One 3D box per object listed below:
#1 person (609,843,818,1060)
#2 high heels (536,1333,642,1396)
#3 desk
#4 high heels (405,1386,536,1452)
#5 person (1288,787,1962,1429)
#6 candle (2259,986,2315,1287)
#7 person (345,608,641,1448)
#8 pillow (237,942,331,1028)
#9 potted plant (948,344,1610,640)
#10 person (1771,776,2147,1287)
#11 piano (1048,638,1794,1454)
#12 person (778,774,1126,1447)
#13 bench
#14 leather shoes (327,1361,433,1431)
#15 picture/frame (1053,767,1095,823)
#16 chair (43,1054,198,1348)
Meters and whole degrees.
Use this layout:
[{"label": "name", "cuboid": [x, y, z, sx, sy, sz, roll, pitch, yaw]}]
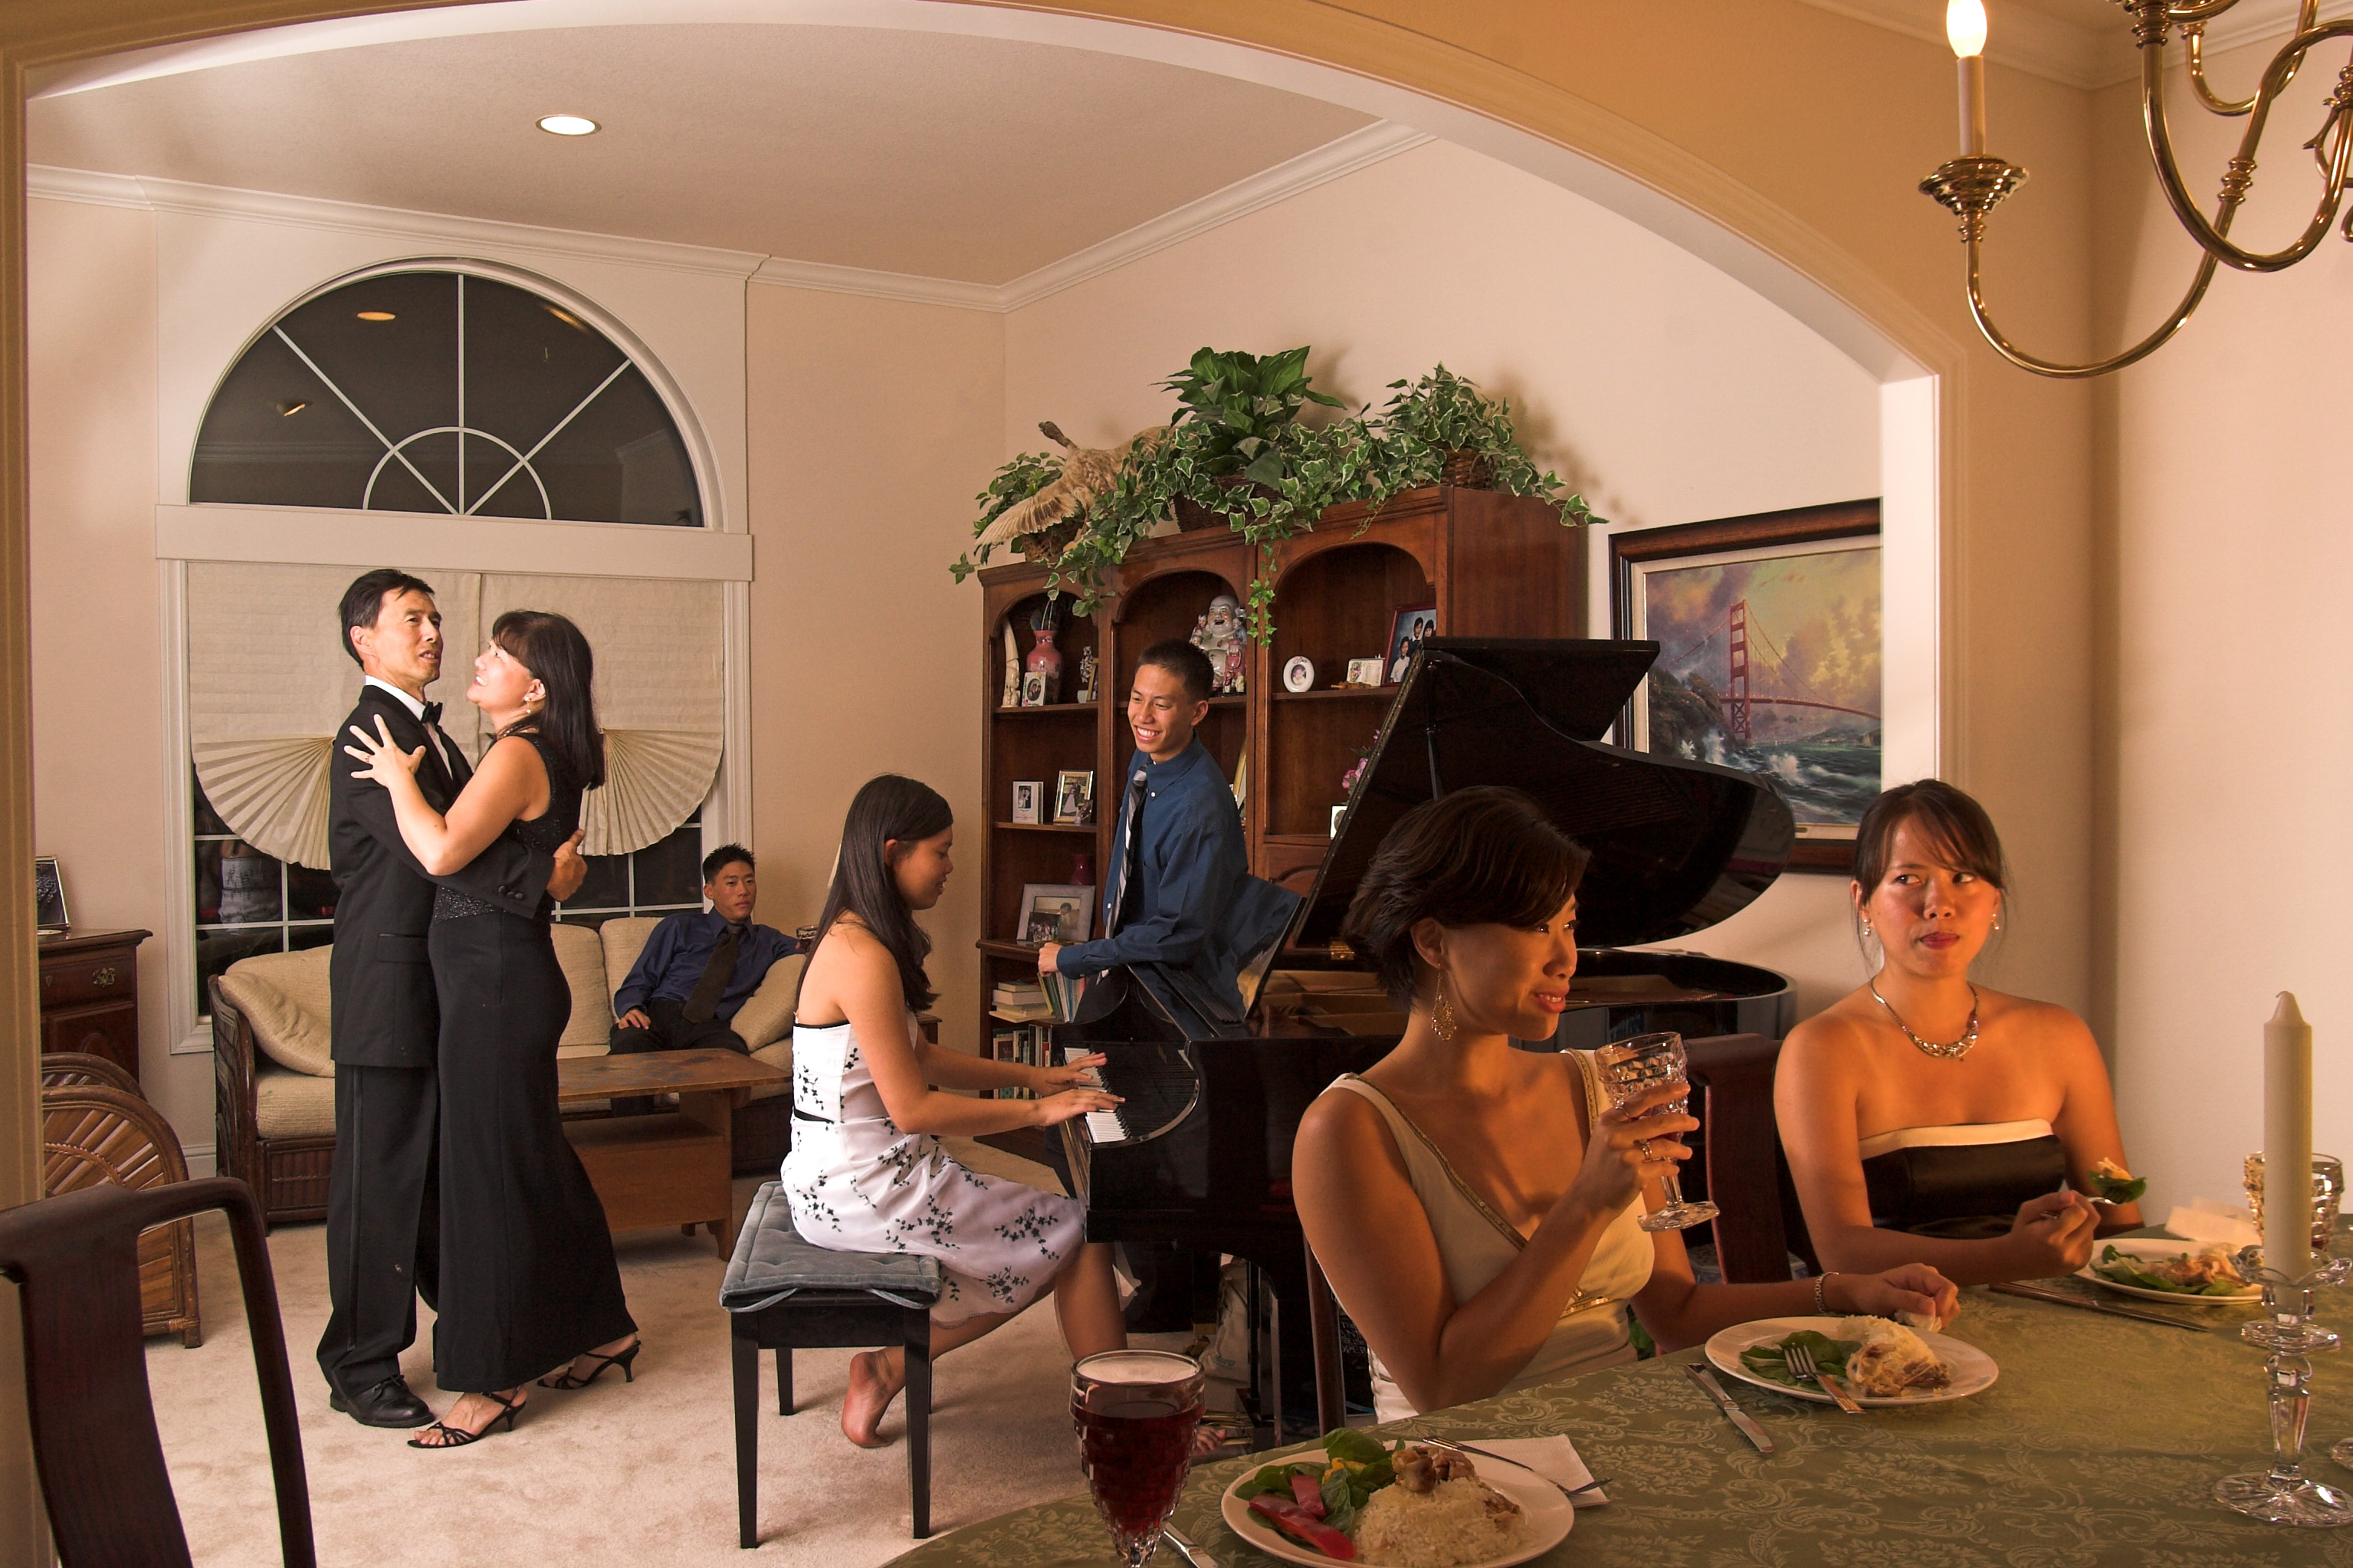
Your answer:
[{"label": "person", "cuboid": [-1.971, 0.766, 7.376, 0.931, 0.970, 0.542, 3, 3, -28]}, {"label": "high heels", "cuboid": [-1.749, 1.759, 5.126, 0.355, 0.156, 0.126, 5, -7, -33]}, {"label": "desk", "cuboid": [-2.004, 1.376, 6.132, 1.027, 0.559, 1.021, 1, -4, -24]}, {"label": "high heels", "cuboid": [-1.987, 1.794, 4.766, 0.275, 0.125, 0.118, 6, -10, -21]}, {"label": "person", "cuboid": [0.749, 0.567, 2.781, 1.093, 1.105, 0.674, -2, -3, 0]}, {"label": "candle", "cuboid": [1.424, 0.445, 2.147, 0.056, 0.366, 0.105, 2, 8, 33]}, {"label": "person", "cuboid": [-1.880, 0.606, 4.777, 0.576, 2.151, 0.324, -5, 7, -22]}, {"label": "pillow", "cuboid": [-3.589, 0.812, 6.846, 0.347, 0.103, 0.326, 18, 0, -40]}, {"label": "potted plant", "cuboid": [0.365, -1.150, 6.653, 2.518, 1.098, 0.661, 4, 8, 43]}, {"label": "person", "cuboid": [1.503, 0.501, 3.197, 0.630, 0.928, 0.682, 2, -4, -36]}, {"label": "piano", "cuboid": [0.808, 0.698, 4.508, 2.172, 1.539, 1.282, -3, -9, -22]}, {"label": "person", "cuboid": [-0.541, 0.940, 4.644, 1.114, 1.755, 0.815, 1, -3, -6]}, {"label": "bench", "cuboid": [-0.904, 1.293, 4.445, 0.596, 0.680, 1.292, -1, 3, -12]}, {"label": "leather shoes", "cuboid": [-2.255, 1.736, 4.823, 0.384, 0.167, 0.141, 1, -2, 22]}, {"label": "picture/frame", "cuboid": [-0.451, 0.052, 7.850, 0.222, 0.251, 0.030, -17, -37, 39]}, {"label": "chair", "cuboid": [-3.401, 1.344, 5.322, 0.536, 0.680, 0.874, -1, 5, -32]}]
